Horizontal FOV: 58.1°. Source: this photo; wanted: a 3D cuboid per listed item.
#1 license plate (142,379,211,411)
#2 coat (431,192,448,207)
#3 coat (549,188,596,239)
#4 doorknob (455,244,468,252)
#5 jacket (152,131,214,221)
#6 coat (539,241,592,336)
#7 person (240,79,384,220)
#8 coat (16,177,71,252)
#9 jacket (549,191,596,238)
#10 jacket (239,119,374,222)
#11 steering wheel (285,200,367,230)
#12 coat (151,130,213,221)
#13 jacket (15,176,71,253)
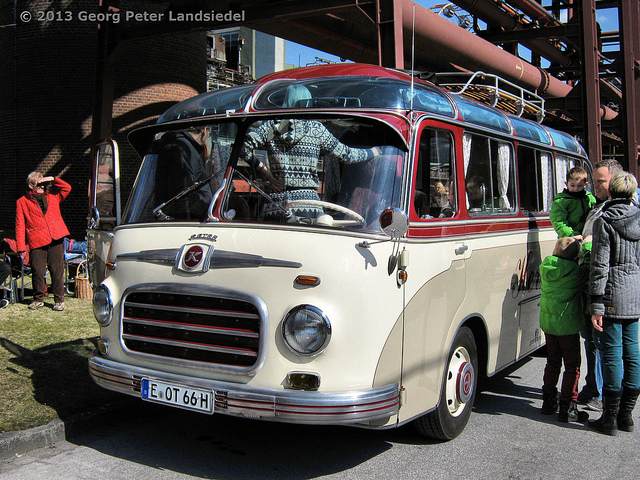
[{"bbox_3d":[-1.263,1.347,5.065,0.731,0.212,0.027,3,6,22],"label":"license plate"},{"bbox_3d":[1.153,-0.382,5.603,0.052,0.136,0.323,7,10,31],"label":"coat"},{"bbox_3d":[3.098,-0.309,7.098,0.475,0.497,0.314,-23,10,-11],"label":"coat"},{"bbox_3d":[1.404,0.082,5.801,0.031,0.056,0.136,8,10,28],"label":"doorknob"},{"bbox_3d":[-1.397,-0.646,5.745,0.976,0.848,0.372,9,11,40],"label":"jacket"},{"bbox_3d":[2.746,0.479,6.600,0.488,1.066,0.534,3,6,38],"label":"coat"},{"bbox_3d":[-0.093,-0.364,5.741,1.358,2.190,0.684,7,23,5],"label":"person"},{"bbox_3d":[-4.976,-0.326,10.336,0.796,1.069,0.267,-3,10,-28],"label":"coat"},{"bbox_3d":[3.237,-0.308,7.240,0.624,0.679,0.410,-8,7,0],"label":"jacket"},{"bbox_3d":[-0.087,-0.753,5.442,1.007,1.008,0.898,11,15,42],"label":"jacket"},{"bbox_3d":[0.017,-0.219,5.014,0.773,0.215,0.225,5,9,18],"label":"steering wheel"},{"bbox_3d":[-1.313,-0.651,5.871,0.550,1.031,0.482,9,15,35],"label":"coat"},{"bbox_3d":[-4.981,-0.467,10.481,1.045,1.300,0.630,-13,3,-25],"label":"jacket"}]
